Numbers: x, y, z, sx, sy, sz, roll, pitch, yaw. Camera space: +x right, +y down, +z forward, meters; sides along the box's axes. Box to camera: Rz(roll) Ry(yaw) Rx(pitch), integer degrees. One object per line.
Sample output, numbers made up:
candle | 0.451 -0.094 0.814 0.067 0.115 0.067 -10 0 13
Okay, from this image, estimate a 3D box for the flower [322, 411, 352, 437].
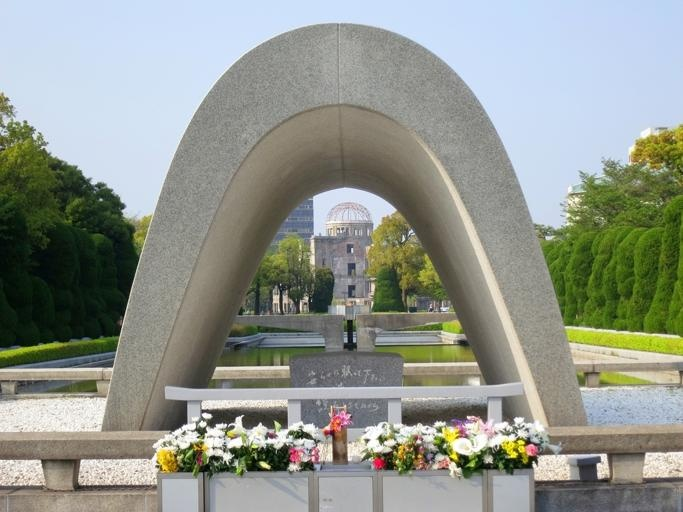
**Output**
flower | -0.072 2.960 21.321 0.501 0.454 0.188 -35 -13 6
